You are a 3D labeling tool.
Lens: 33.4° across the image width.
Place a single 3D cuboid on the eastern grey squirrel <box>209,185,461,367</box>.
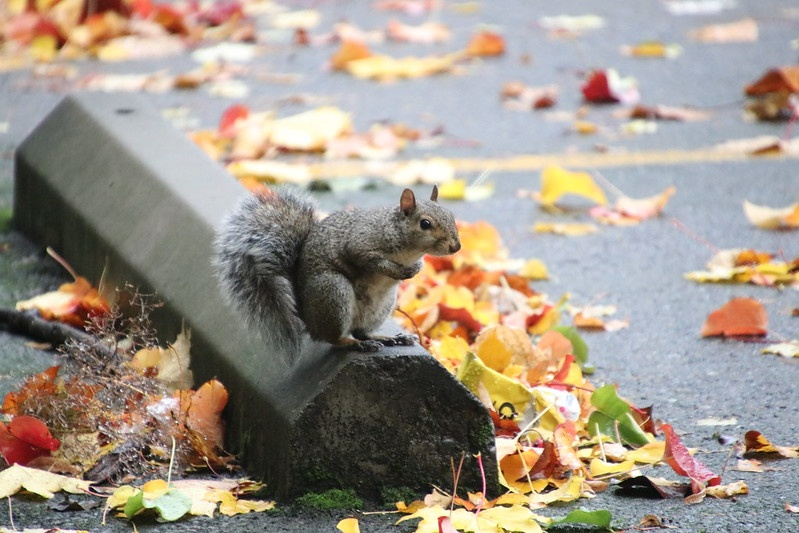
[{"bbox_3d":[-0.259,-0.025,6.782,1.417,0.587,0.840,-5,89,33],"label":"eastern grey squirrel"}]
